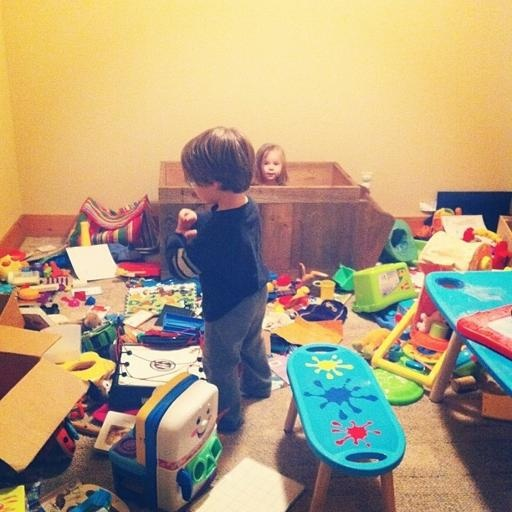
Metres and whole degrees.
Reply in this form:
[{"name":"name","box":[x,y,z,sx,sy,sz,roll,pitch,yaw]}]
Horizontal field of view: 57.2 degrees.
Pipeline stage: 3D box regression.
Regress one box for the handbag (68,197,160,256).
[{"name":"handbag","box":[-1.193,-0.318,4.100,0.802,0.307,0.799,3,18,-3]}]

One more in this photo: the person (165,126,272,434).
[{"name":"person","box":[-0.124,0.097,1.844,0.332,1.174,0.373,8,21,20]}]
